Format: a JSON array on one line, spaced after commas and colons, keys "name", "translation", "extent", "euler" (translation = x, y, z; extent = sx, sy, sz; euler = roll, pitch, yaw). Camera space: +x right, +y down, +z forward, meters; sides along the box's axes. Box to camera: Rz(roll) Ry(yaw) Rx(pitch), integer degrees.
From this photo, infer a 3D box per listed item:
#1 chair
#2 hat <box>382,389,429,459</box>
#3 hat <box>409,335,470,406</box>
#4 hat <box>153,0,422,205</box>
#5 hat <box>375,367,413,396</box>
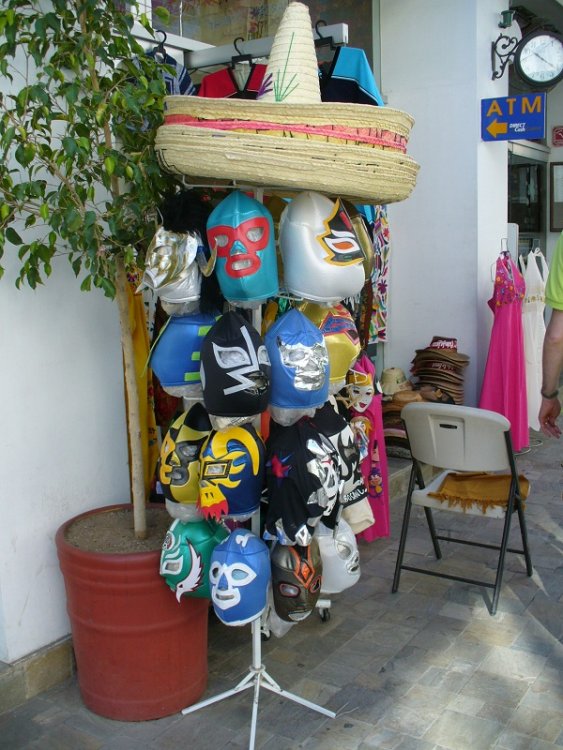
[{"name": "chair", "translation": [0.814, 0.519, 2.887], "extent": [0.629, 0.865, 0.901], "euler": [1, 5, 20]}, {"name": "hat", "translation": [0.786, 0.322, 4.257], "extent": [0.479, 0.443, 0.170], "euler": [5, -2, 14]}, {"name": "hat", "translation": [1.137, -0.031, 4.583], "extent": [0.420, 0.488, 0.609], "euler": [0, 5, 15]}, {"name": "hat", "translation": [0.031, -0.655, 1.571], "extent": [0.672, 0.417, 0.388], "euler": [-1, 24, -10]}, {"name": "hat", "translation": [0.771, 0.041, 4.498], "extent": [0.255, 0.158, 0.246], "euler": [-17, 20, -28]}]
